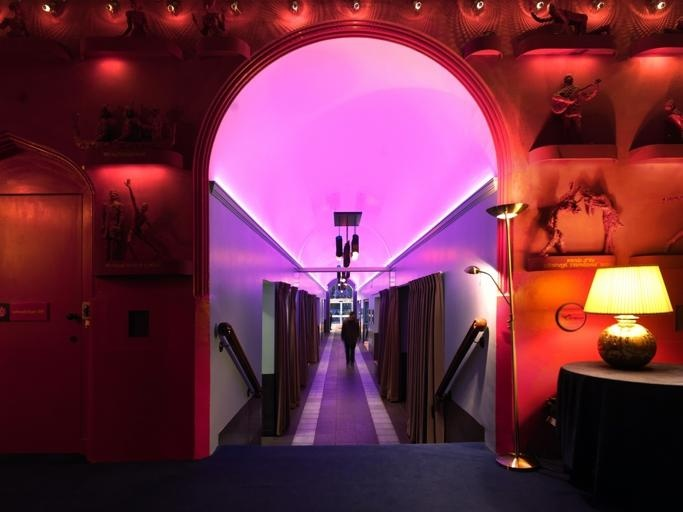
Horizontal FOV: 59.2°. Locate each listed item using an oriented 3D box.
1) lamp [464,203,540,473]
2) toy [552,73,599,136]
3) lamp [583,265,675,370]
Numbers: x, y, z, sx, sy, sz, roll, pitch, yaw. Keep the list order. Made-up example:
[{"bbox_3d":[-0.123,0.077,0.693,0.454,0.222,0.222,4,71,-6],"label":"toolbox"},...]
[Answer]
[{"bbox_3d":[1.608,0.775,5.875,0.555,2.549,0.520,1,-4,27],"label":"lamp"},{"bbox_3d":[2.356,-1.505,6.047,0.512,0.747,0.236,-6,2,-5],"label":"toy"},{"bbox_3d":[2.658,0.562,5.623,0.694,0.969,0.280,3,-4,-1],"label":"lamp"}]
